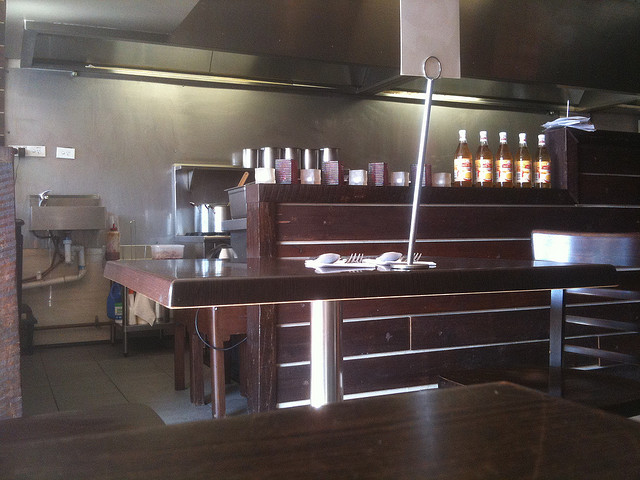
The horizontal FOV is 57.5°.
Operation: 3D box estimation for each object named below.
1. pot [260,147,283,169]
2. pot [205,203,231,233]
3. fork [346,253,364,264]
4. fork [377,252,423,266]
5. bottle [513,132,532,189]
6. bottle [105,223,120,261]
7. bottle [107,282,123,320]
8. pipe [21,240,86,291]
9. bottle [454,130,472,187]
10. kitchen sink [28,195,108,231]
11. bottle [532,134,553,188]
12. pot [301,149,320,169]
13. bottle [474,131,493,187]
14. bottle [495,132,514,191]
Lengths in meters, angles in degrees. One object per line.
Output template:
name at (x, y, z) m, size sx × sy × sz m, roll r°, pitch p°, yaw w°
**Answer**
pot at (-0.348, -0.605, 4.261) m, size 0.110 × 0.135 × 0.320 m, roll -3°, pitch 10°, yaw 1°
pot at (-0.978, -0.208, 5.515) m, size 0.162 × 0.253 × 0.290 m, roll -11°, pitch 13°, yaw -42°
fork at (0.111, 0.058, 1.833) m, size 0.048 × 0.021 × 0.100 m, roll 1°, pitch 9°, yaw 14°
fork at (0.213, 0.056, 1.471) m, size 0.083 × 0.027 × 0.046 m, roll -1°, pitch -1°, yaw -16°
bottle at (1.246, -0.490, 3.573) m, size 0.099 × 0.317 × 0.246 m, roll 0°, pitch 10°, yaw 16°
bottle at (-1.897, 0.058, 5.334) m, size 0.134 × 0.354 × 0.110 m, roll -2°, pitch 18°, yaw -12°
bottle at (-1.789, 0.555, 5.098) m, size 0.141 × 0.312 × 0.444 m, roll -6°, pitch 10°, yaw -21°
pipe at (-2.397, 0.218, 5.250) m, size 0.539 × 0.419 × 0.136 m, roll -8°, pitch 10°, yaw -29°
bottle at (0.849, -0.485, 3.455) m, size 0.095 × 0.323 × 0.162 m, roll -1°, pitch 9°, yaw 12°
kitchen sink at (-2.276, -0.244, 5.227) m, size 0.659 × 0.312 × 0.354 m, roll -2°, pitch 1°, yaw -33°
bottle at (1.397, -0.493, 3.643) m, size 0.119 × 0.326 × 0.295 m, roll 1°, pitch 10°, yaw 21°
pot at (-0.098, -0.749, 5.380) m, size 0.156 × 0.178 × 0.268 m, roll -1°, pitch 10°, yaw 14°
bottle at (0.977, -0.483, 3.462) m, size 0.093 × 0.322 × 0.318 m, roll -1°, pitch 10°, yaw 14°
bottle at (1.123, -0.488, 3.532) m, size 0.093 × 0.323 × 0.237 m, roll 0°, pitch 10°, yaw 17°
